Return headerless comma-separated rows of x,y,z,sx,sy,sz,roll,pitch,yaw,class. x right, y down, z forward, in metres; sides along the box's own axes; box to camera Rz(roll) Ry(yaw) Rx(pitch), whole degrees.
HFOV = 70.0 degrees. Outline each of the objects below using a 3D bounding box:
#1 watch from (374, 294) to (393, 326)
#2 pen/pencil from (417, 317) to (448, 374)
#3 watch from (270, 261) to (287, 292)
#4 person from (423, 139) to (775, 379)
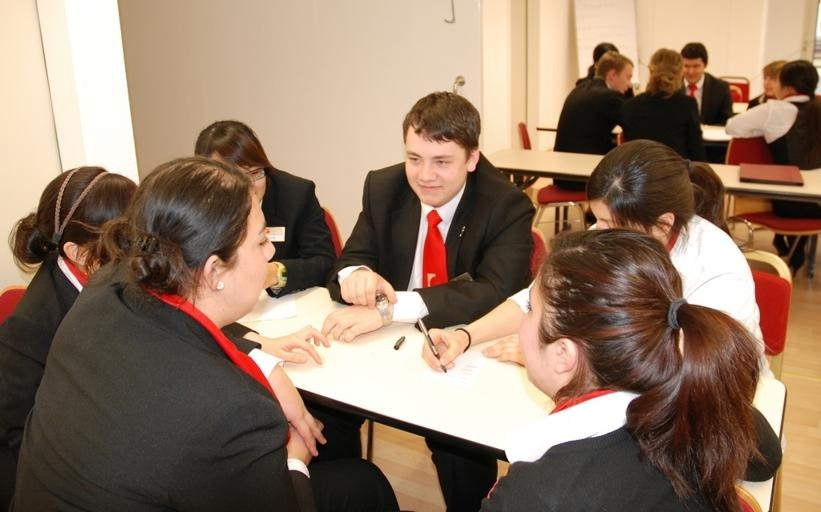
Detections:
-0.107,0.208,2.295,0.069,0.101,0.105,-15,40,-17,watch
0.072,0.334,2.124,0.026,0.199,0.022,-20,-23,-45,pen/pencil
-0.559,0.092,2.482,0.109,0.116,0.075,-3,-4,44,watch
0.618,-0.078,2.468,1.266,1.142,0.728,-8,22,-9,person
